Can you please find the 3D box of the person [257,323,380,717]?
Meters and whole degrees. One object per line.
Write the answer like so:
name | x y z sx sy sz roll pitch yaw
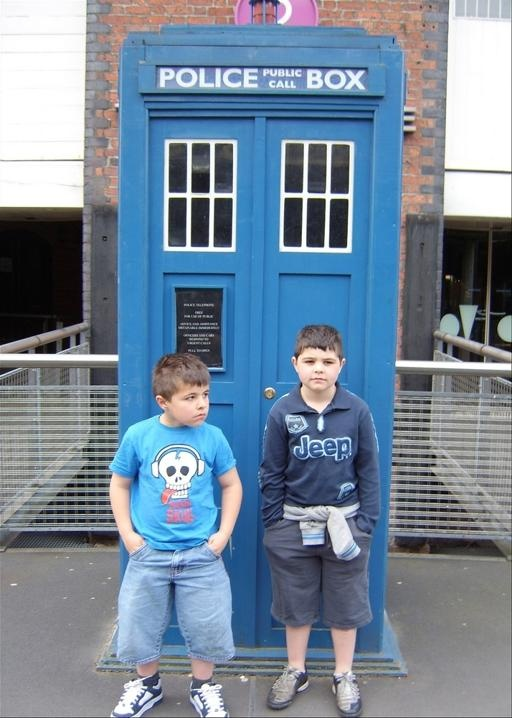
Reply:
person | 0.228 0.693 3.435 0.449 1.193 0.290 2 10 8

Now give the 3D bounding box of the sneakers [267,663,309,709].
sneakers | 0.110 1.231 3.501 0.079 0.096 0.200 3 7 36

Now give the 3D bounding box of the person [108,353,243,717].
person | -0.291 0.650 3.288 0.463 1.301 0.256 0 10 -2
